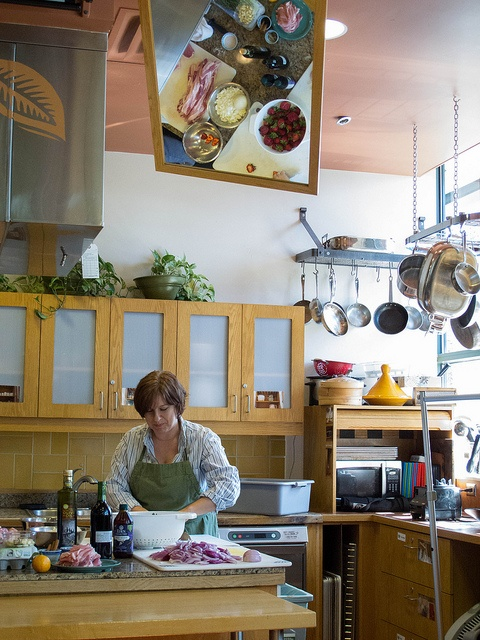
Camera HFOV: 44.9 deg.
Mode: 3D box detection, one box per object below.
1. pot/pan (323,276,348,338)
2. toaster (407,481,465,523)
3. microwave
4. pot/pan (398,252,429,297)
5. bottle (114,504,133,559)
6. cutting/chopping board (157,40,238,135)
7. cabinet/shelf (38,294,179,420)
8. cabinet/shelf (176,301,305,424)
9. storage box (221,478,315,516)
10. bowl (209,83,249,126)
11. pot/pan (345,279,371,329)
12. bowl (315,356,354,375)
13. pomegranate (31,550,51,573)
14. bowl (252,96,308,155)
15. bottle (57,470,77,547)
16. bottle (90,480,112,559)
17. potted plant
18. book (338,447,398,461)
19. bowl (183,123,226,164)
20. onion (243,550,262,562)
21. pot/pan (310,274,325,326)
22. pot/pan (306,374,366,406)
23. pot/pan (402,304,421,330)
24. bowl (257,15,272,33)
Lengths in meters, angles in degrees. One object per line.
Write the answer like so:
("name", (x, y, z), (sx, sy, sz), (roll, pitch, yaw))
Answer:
("pot/pan", (0.673, -0.145, 4.227), (0.112, 0.501, 0.290), (-3, -4, 40))
("toaster", (1.142, 1.039, 3.460), (0.273, 0.281, 0.279), (2, -14, -3))
("microwave", (0.827, 1.044, 3.770), (0.460, 0.324, 0.304), (3, -11, -18))
("pot/pan", (0.886, -0.246, 3.126), (0.181, 0.216, 0.154), (0, 20, -13))
("bottle", (-0.332, 0.592, 1.636), (0.052, 0.152, 0.042), (0, -3, -10))
("cutting/chopping board", (-0.114, -0.554, 1.381), (0.173, 0.188, 0.050), (17, 21, -24))
("cabinet/shelf", (-0.815, 0.219, 3.359), (0.666, 0.621, 0.262), (2, -9, -12))
("cabinet/shelf", (-0.028, 0.286, 3.702), (0.697, 0.697, 0.276), (2, -10, -13))
("storage box", (0.198, 0.989, 3.409), (0.378, 0.145, 0.260), (-10, -17, 37))
("bowl", (-0.014, -0.506, 1.379), (0.092, 0.099, 0.038), (-7, 16, -16))
("pot/pan", (0.889, -0.134, 4.372), (0.127, 0.369, 0.177), (-3, -5, 44))
("bowl", (0.643, 0.330, 4.037), (0.261, 0.122, 0.112), (-1, -3, 7))
("pomegranate", (-0.472, 0.570, 1.384), (0.039, 0.050, 0.039), (-3, 2, 7))
("bowl", (0.104, -0.489, 1.440), (0.120, 0.120, 0.041), (-5, 18, -9))
("bottle", (-0.506, 0.543, 1.698), (0.054, 0.218, 0.156), (1, -3, -16))
("bottle", (-0.386, 0.546, 1.613), (0.057, 0.211, 0.130), (1, -4, -21))
("potted plant", (-0.433, -0.305, 3.907), (0.509, 0.396, 0.472), (0, -3, -2))
("book", (0.846, 0.897, 3.931), (0.239, 0.061, 0.242), (0, -2, 0))
("bowl", (-0.093, -0.433, 1.430), (0.089, 0.095, 0.035), (-6, 15, -16))
("onion", (0.030, 0.634, 1.577), (0.030, 0.020, 0.031), (-2, -4, 21))
("pot/pan", (0.553, -0.190, 4.250), (0.095, 0.402, 0.253), (-1, -3, 7))
("pot/pan", (0.607, 0.479, 3.914), (0.428, 0.206, 0.314), (-2, -4, 31))
("pot/pan", (1.298, -0.027, 4.370), (0.144, 0.181, 0.034), (-3, 2, -21))
("bowl", (0.056, -0.693, 1.357), (0.033, 0.028, 0.023), (-1, -4, 18))
